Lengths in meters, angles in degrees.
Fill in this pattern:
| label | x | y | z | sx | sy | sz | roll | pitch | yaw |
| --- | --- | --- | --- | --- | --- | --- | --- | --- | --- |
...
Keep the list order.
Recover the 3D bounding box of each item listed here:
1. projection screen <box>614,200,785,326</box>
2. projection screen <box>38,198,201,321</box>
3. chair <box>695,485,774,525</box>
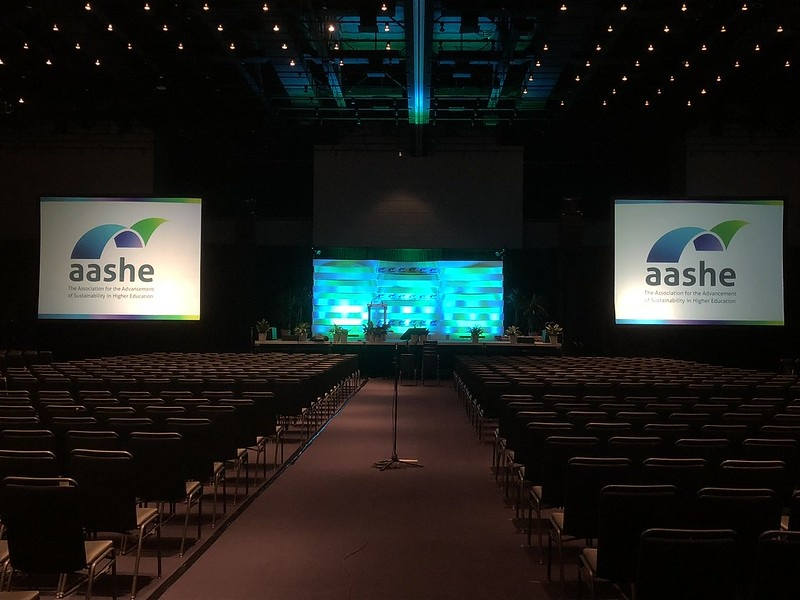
| label | x | y | z | sx | sy | sz | roll | pitch | yaw |
| --- | --- | --- | --- | --- | --- | --- | --- | --- | --- |
| projection screen | 8.186 | -0.899 | 17.522 | 3.306 | 2.456 | 0.137 | 0 | -4 | 4 |
| projection screen | -7.769 | -1.028 | 17.832 | 3.289 | 2.584 | 0.109 | 0 | -1 | -3 |
| chair | 2.430 | 1.461 | 4.788 | 0.581 | 0.211 | 0.462 | 1 | 1 | 13 |
